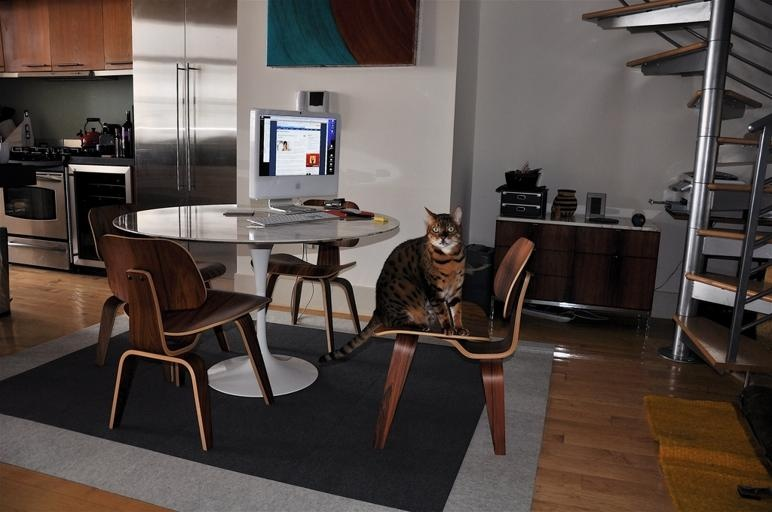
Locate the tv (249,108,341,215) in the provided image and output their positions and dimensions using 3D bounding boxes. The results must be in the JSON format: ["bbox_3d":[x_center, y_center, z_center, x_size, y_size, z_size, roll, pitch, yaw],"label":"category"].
[{"bbox_3d":[-0.649,-0.634,3.598,0.295,0.626,0.695,14,16,41],"label":"tv"}]

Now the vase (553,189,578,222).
[{"bbox_3d":[1.478,-0.431,4.583,0.246,0.282,0.250,1,-1,8],"label":"vase"}]

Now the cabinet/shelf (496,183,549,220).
[{"bbox_3d":[1.129,-0.469,4.556,0.314,0.192,0.307,3,9,17],"label":"cabinet/shelf"}]

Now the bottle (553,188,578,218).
[{"bbox_3d":[1.471,-0.448,4.583,0.223,0.256,0.226,0,3,0],"label":"bottle"}]

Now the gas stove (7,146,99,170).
[{"bbox_3d":[-3.397,-1.018,5.618,0.743,0.221,1.044,-7,14,-37],"label":"gas stove"}]

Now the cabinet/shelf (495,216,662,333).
[{"bbox_3d":[1.486,0.113,4.267,0.945,0.641,0.330,3,9,14],"label":"cabinet/shelf"}]

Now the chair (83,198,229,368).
[{"bbox_3d":[-1.484,0.251,3.714,0.944,1.232,0.882,7,17,-16],"label":"chair"}]

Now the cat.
[{"bbox_3d":[0.003,0.148,2.893,0.885,0.622,0.451,-12,-6,12],"label":"cat"}]

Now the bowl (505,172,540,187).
[{"bbox_3d":[1.123,-0.639,4.580,0.207,0.091,0.149,2,7,19],"label":"bowl"}]

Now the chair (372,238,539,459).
[{"bbox_3d":[0.343,0.442,3.058,0.844,1.015,0.777,1,3,21],"label":"chair"}]

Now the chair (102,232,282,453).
[{"bbox_3d":[-1.099,0.398,3.096,0.736,1.082,0.794,4,9,12],"label":"chair"}]
